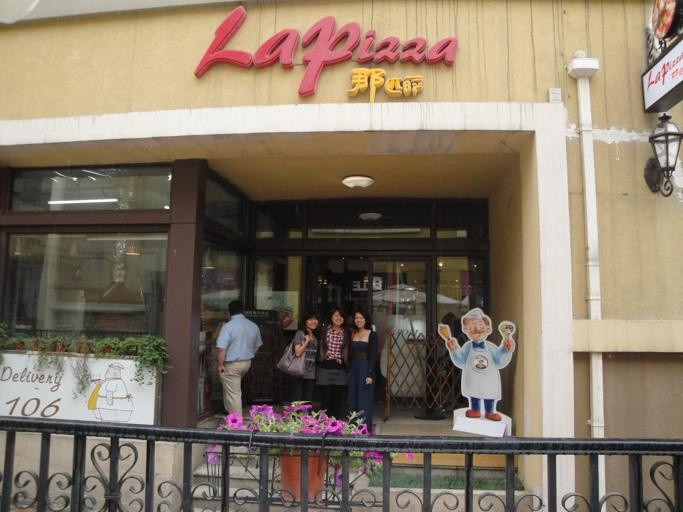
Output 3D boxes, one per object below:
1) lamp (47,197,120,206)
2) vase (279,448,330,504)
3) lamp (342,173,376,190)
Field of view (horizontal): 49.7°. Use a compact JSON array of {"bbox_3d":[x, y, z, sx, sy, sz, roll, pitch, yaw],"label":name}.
[{"bbox_3d":[-3.417,-0.732,9.649,0.590,0.095,0.048,-1,-8,9],"label":"lamp"},{"bbox_3d":[-0.420,2.336,7.777,0.495,0.562,1.338,1,-8,-2],"label":"vase"},{"bbox_3d":[0.250,-1.056,10.428,0.445,0.151,0.872,1,-8,2],"label":"lamp"}]
